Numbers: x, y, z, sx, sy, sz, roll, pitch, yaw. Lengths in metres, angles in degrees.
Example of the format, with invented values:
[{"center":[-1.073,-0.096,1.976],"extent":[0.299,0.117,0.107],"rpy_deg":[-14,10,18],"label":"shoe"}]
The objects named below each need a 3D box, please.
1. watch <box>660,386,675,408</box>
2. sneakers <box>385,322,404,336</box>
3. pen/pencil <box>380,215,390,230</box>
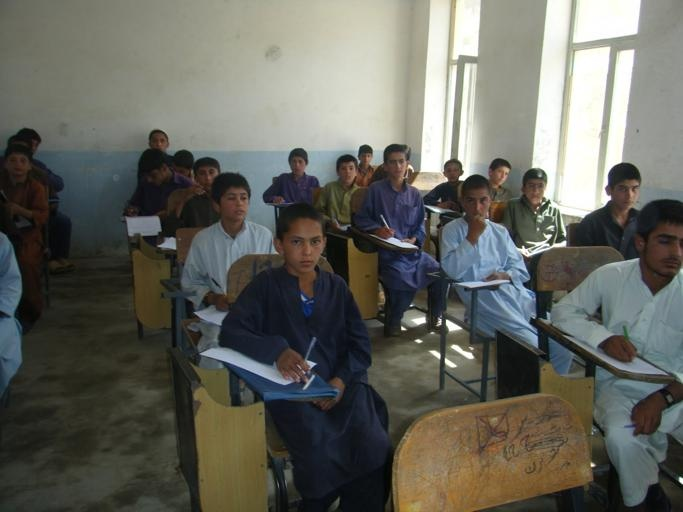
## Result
[{"center":[1.549,0.667,2.819],"extent":[0.073,0.082,0.048],"rpy_deg":[-3,9,-11],"label":"watch"},{"center":[0.421,0.594,4.821],"extent":[0.101,0.124,0.301],"rpy_deg":[0,-3,-1],"label":"sneakers"},{"center":[0.371,-0.287,5.042],"extent":[0.018,0.156,0.026],"rpy_deg":[-8,-28,-37],"label":"pen/pencil"}]
